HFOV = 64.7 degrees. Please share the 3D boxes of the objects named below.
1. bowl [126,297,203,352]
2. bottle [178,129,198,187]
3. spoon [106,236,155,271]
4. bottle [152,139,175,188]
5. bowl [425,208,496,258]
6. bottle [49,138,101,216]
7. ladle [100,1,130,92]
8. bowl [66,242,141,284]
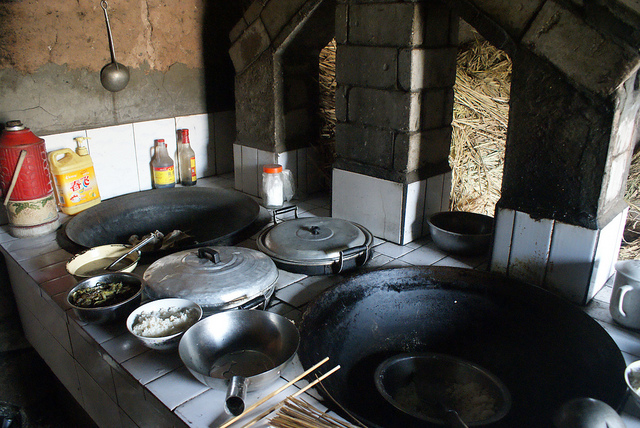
[{"bbox_3d":[-0.554,0.393,1.785,0.235,0.138,0.205,8,21,27],"label":"bowl"},{"bbox_3d":[-0.780,-0.330,2.926,0.119,0.329,0.244,-6,19,-14],"label":"bottle"},{"bbox_3d":[-0.815,0.174,2.179,0.039,0.024,0.208,41,42,-1],"label":"spoon"},{"bbox_3d":[-0.892,-0.290,2.861,0.111,0.266,0.084,-8,20,-18],"label":"bottle"},{"bbox_3d":[0.640,0.096,2.350,0.308,0.166,0.238,3,19,13],"label":"bowl"},{"bbox_3d":[-1.254,-0.174,2.579,0.189,0.313,0.138,-19,25,-41],"label":"bottle"},{"bbox_3d":[-1.103,-0.880,2.653,0.149,0.456,0.051,-10,21,-23],"label":"ladle"},{"bbox_3d":[-0.879,0.218,2.069,0.279,0.105,0.282,-6,18,2],"label":"bowl"}]
